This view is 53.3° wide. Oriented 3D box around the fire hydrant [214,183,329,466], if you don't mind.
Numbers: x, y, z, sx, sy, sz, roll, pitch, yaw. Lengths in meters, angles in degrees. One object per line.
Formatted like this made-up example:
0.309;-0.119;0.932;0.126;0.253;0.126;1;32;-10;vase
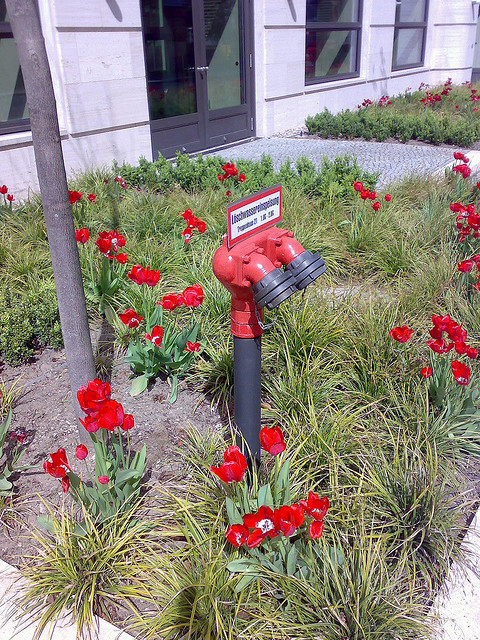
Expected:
0.159;0.087;1.682;0.376;1.056;0.344;-27;31;-36;fire hydrant

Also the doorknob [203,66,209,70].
-0.599;-4.380;8.321;0.040;0.049;0.178;1;26;18;doorknob

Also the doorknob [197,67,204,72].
-0.684;-4.314;8.238;0.129;0.058;0.029;-27;31;-36;doorknob
